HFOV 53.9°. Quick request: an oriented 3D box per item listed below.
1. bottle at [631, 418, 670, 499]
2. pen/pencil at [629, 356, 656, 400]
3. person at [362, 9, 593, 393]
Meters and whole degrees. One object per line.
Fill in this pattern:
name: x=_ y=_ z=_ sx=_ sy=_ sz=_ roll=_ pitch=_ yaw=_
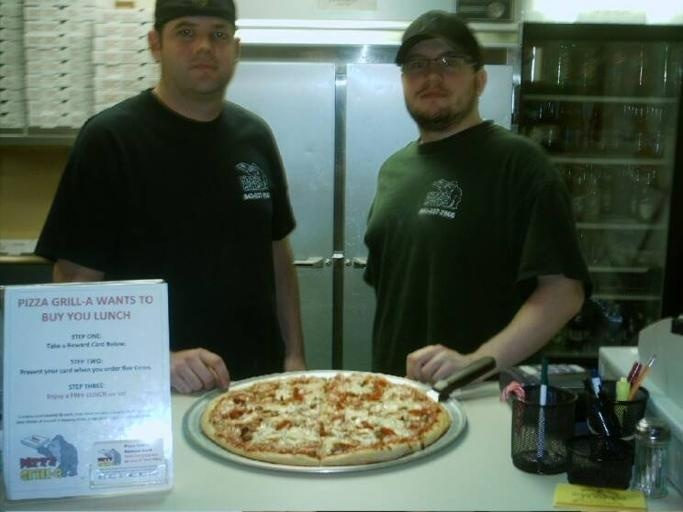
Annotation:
bottle: x=0.647 y=0.421 z=1.406 sx=0.061 sy=0.152 sz=0.071 roll=4 pitch=10 yaw=36
pen/pencil: x=0.690 y=0.282 z=1.538 sx=0.015 sy=0.106 sz=0.015 roll=33 pitch=2 yaw=40
person: x=0.385 y=-0.198 z=2.192 sx=0.492 sy=1.210 sz=0.739 roll=-5 pitch=9 yaw=-20
